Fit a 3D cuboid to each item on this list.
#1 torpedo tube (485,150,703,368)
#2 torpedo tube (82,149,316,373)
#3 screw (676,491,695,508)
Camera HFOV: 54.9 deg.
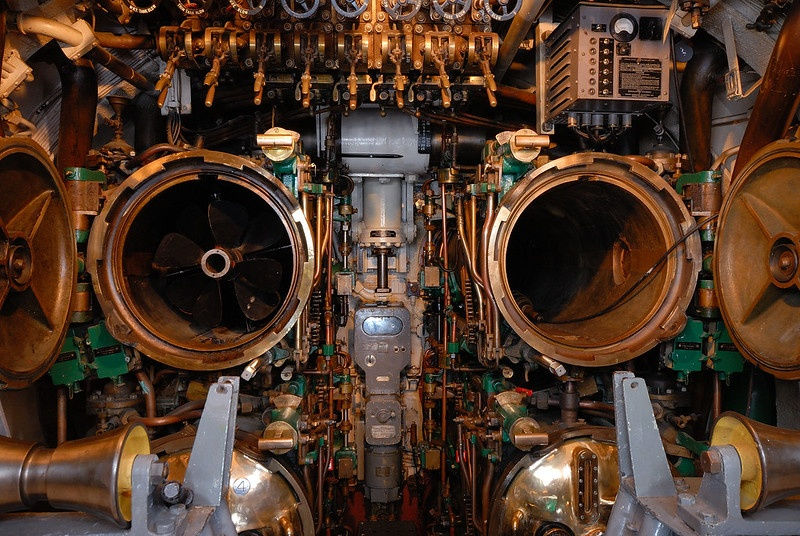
[{"bbox_3d":[2.072,-0.108,8.549,1.918,2.221,2.412,5,-1,10],"label":"torpedo tube"},{"bbox_3d":[-1.994,-0.030,7.975,2.061,2.129,1.360,2,-4,-5],"label":"torpedo tube"},{"bbox_3d":[2.202,1.792,5.966,0.083,0.061,0.086,-2,4,-15],"label":"screw"}]
